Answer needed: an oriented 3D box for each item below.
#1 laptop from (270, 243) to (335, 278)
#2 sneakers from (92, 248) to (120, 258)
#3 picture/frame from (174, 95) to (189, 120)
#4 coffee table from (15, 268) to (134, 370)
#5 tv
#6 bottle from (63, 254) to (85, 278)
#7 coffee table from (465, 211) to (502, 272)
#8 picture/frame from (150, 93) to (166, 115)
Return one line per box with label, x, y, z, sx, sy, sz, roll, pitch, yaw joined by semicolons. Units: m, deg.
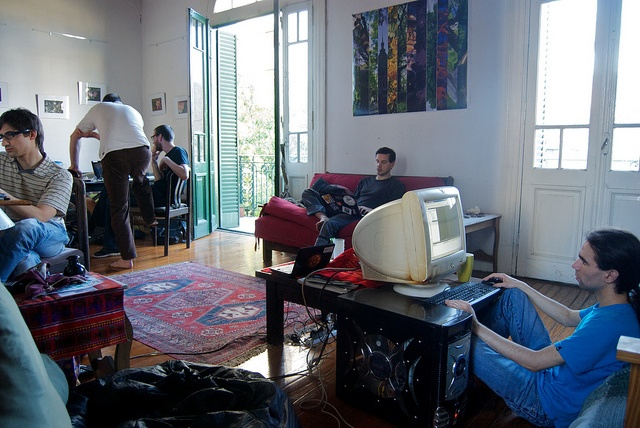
laptop;-0.054;0.285;2.651;0.259;0.163;0.198;-8;15;-44
sneakers;-2.392;0.434;4.911;0.310;0.137;0.123;3;2;-34
picture/frame;-2.050;-1.578;6.440;0.411;0.430;0.034;5;8;44
coffee table;-1.223;0.460;2.191;0.417;0.406;0.405;-5;3;-36
tv;0.510;0.156;2.502;0.531;0.670;0.704;1;4;10
bottle;-1.316;0.288;2.372;0.115;0.115;0.116;8;11;43
coffee table;1.611;0.261;4.249;0.398;0.530;0.554;-3;5;-2
picture/frame;-2.522;-1.711;6.773;0.337;0.354;0.012;7;10;42
